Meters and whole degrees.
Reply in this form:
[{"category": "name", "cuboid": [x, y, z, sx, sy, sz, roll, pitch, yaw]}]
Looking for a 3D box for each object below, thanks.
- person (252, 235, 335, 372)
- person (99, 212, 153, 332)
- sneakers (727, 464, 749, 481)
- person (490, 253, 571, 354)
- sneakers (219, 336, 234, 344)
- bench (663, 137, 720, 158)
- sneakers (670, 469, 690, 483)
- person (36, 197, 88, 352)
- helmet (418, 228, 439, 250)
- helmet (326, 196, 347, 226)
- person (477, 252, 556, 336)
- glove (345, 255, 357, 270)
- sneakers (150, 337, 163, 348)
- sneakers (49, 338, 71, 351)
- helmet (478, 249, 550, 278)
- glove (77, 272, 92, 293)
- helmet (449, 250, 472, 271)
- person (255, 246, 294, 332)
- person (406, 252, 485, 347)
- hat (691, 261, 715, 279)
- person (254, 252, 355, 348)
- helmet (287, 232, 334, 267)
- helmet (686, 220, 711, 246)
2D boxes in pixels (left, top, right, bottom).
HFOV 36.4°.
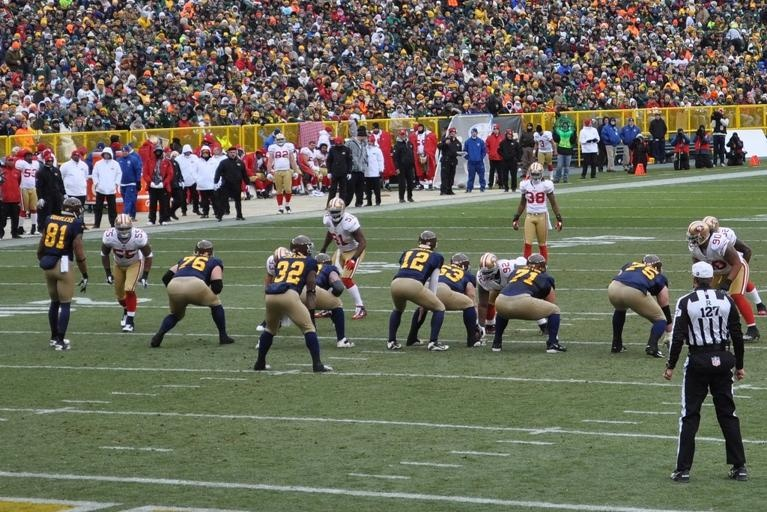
[{"category": "person", "cuboid": [-1.240, 0.603, 15.426, 0.991, 1.681, 1.421, -2, 11, -6]}, {"category": "person", "cuboid": [-3.864, 0.199, 17.583, 0.719, 1.783, 1.127, -4, 11, -13]}, {"category": "sneakers", "cuboid": [3.524, 2.142, 11.657, 0.191, 0.150, 0.199, 1, 11, 12]}, {"category": "person", "cuboid": [2.015, 0.661, 16.493, 1.303, 1.310, 1.145, 6, -6, -19]}, {"category": "sneakers", "cuboid": [-2.243, 1.192, 16.670, 0.086, 0.090, 0.231, 7, 9, 32]}, {"category": "bench", "cuboid": [11.508, -4.254, 44.741, 1.232, 1.069, 0.331, 4, 2, 12]}, {"category": "sneakers", "cuboid": [2.935, 2.178, 11.635, 0.181, 0.113, 0.105, 1, 11, 11]}, {"category": "person", "cuboid": [-4.561, 0.241, 16.616, 0.653, 2.032, 1.004, -4, 11, -14]}, {"category": "helmet", "cuboid": [0.608, -0.225, 16.571, 0.232, 0.246, 0.273, 6, 29, 8]}, {"category": "helmet", "cuboid": [-0.752, -0.777, 18.596, 0.311, 0.349, 0.400, 0, 30, 7]}, {"category": "person", "cuboid": [1.783, 0.522, 16.894, 0.847, 0.813, 1.417, 3, -13, 25]}, {"category": "glove", "cuboid": [-0.529, 0.112, 18.337, 0.190, 0.066, 0.146, -43, -14, 31]}, {"category": "sneakers", "cuboid": [-3.222, 1.216, 16.482, 0.119, 0.097, 0.203, 8, -6, -5]}, {"category": "sneakers", "cuboid": [-4.553, 1.234, 16.421, 0.266, 0.141, 0.252, -3, 11, -14]}, {"category": "helmet", "cuboid": [1.699, 0.145, 16.773, 0.663, 0.216, 0.440, -11, -11, -38]}, {"category": "glove", "cuboid": [-4.965, 0.447, 19.347, 0.182, 0.159, 0.507, 42, 7, -39]}, {"category": "helmet", "cuboid": [1.119, 0.065, 16.980, 0.234, 0.243, 0.288, 24, 19, 31]}, {"category": "person", "cuboid": [-1.560, 0.509, 16.505, 0.549, 0.442, 1.245, -9, -13, -12]}, {"category": "person", "cuboid": [1.006, 0.652, 16.571, 1.083, 1.117, 1.328, 8, 4, 26]}, {"category": "hat", "cuboid": [3.280, 0.181, 12.045, 0.229, 0.159, 0.322, -1, 12, 6]}, {"category": "person", "cuboid": [-1.072, 0.641, 16.235, 1.404, 1.183, 0.739, 3, 7, 38]}, {"category": "helmet", "cuboid": [-0.949, -0.113, 15.663, 0.626, 0.250, 0.357, 30, -16, -38]}, {"category": "helmet", "cuboid": [4.307, -0.297, 16.047, 0.303, 0.331, 0.358, 3, 11, 19]}]
